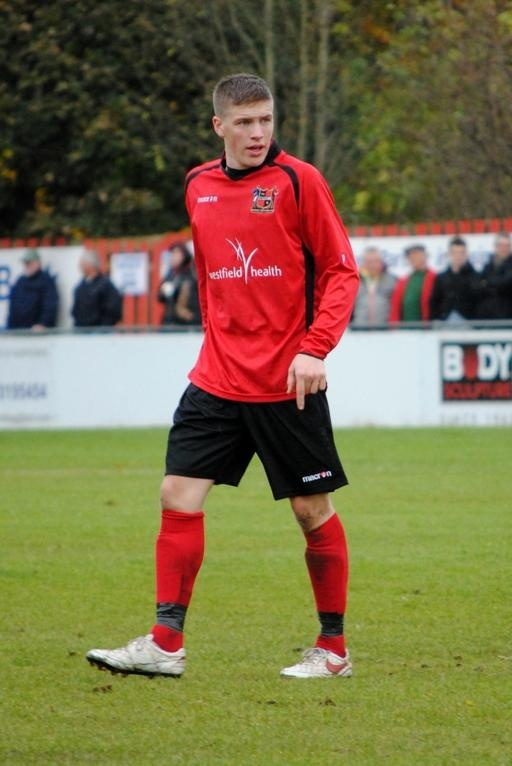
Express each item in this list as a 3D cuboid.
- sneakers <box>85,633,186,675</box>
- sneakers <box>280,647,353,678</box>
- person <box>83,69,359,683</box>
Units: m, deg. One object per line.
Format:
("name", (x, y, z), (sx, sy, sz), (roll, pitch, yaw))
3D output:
("sneakers", (-0.332, 0.792, 3.677), (0.298, 0.116, 0.103), (10, -18, -18))
("sneakers", (0.182, 0.856, 3.869), (0.240, 0.091, 0.077), (2, -22, -3))
("person", (-0.035, -0.023, 3.775), (0.650, 1.820, 0.504), (0, 4, 3))
